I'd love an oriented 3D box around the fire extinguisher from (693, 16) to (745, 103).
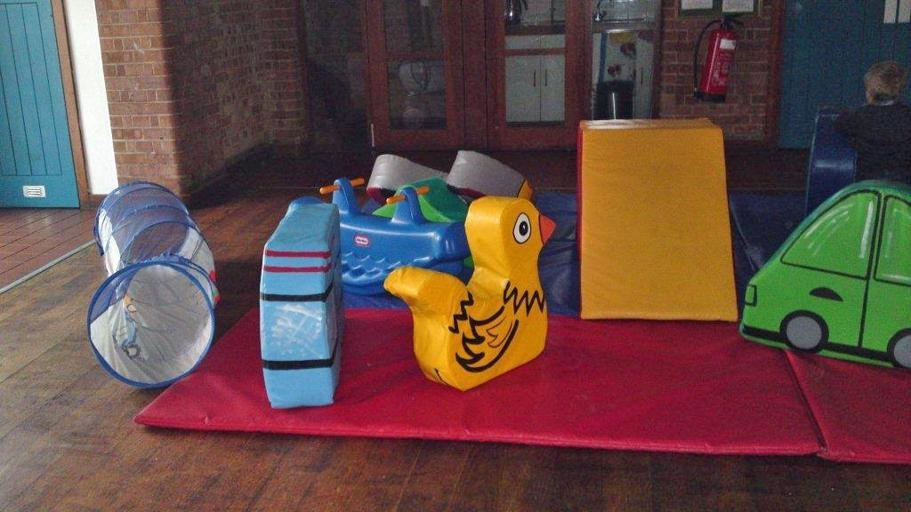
[{"bbox_3d":[2.824,-2.136,7.227,0.428,0.887,0.313,6,24,19],"label":"fire extinguisher"}]
